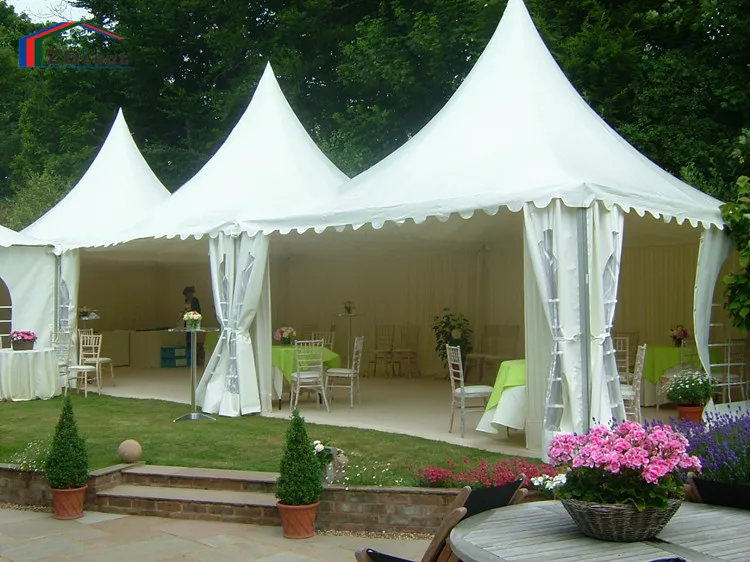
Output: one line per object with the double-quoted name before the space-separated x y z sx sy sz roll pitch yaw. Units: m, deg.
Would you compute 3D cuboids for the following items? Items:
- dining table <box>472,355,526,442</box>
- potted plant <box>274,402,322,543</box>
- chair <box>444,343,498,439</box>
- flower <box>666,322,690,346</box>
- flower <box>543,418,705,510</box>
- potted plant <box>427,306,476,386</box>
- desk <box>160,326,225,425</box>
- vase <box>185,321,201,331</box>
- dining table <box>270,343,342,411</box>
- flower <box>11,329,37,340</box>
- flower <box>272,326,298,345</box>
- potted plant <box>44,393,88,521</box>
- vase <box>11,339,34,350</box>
"dining table" 1.490 1.350 8.139 0.704 0.899 0.741 16 -13 -24
"potted plant" -0.621 1.574 5.770 0.366 1.021 0.278 0 -6 -9
"chair" 1.211 1.328 8.657 0.624 1.066 0.523 2 -3 -19
"flower" 4.867 0.835 11.240 0.395 0.435 0.398 0 -1 -35
"flower" 1.420 0.983 3.798 0.564 0.378 0.585 7 -2 -32
"potted plant" 1.661 1.158 13.898 0.993 1.642 1.056 -1 1 -38
"desk" -3.014 1.544 11.503 1.041 1.700 1.086 1 -3 6
"vase" -2.410 0.579 9.263 0.151 0.139 0.184 1 -7 -6
"dining table" -1.123 1.425 10.810 1.010 1.405 0.855 1 2 -9
"flower" -5.629 0.855 11.208 0.304 0.159 0.303 -8 -10 43
"flower" -1.410 0.852 10.993 0.467 0.399 0.530 1 -5 -13
"potted plant" -2.776 1.588 6.325 0.350 1.044 0.201 2 -7 -27
"vase" -5.581 0.992 11.153 0.239 0.129 0.189 3 -5 -31
